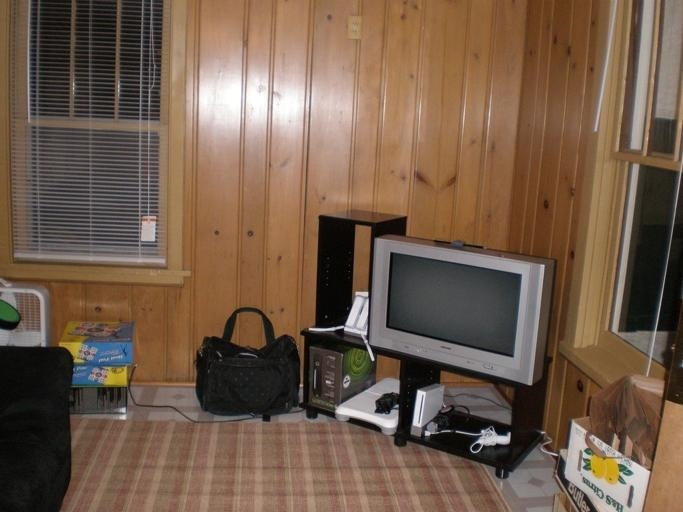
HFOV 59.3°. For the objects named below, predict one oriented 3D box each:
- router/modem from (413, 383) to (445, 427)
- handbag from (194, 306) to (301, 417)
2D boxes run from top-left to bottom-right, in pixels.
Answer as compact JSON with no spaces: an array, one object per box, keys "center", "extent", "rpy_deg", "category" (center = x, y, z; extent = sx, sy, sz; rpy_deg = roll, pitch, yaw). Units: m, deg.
[{"center":[0.461,0.803,3.217],"extent":[0.064,0.187,0.200],"rpy_deg":[4,13,32],"category":"router/modem"},{"center":[-0.563,0.618,3.468],"extent":[0.518,0.551,0.280],"rpy_deg":[1,-14,-4],"category":"handbag"}]
